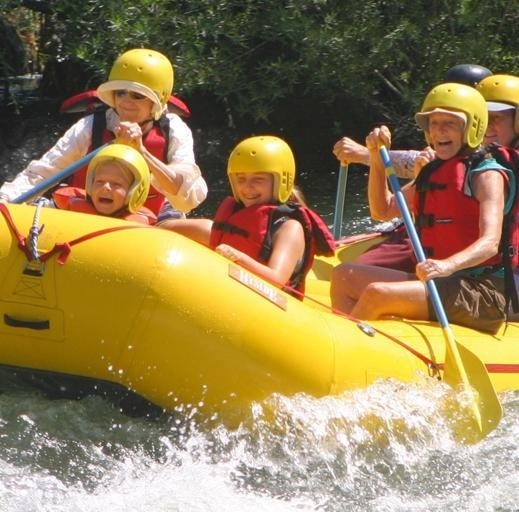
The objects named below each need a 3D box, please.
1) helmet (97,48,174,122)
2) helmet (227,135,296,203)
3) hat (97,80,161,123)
[{"bbox_3d":[-0.662,-0.927,3.998,0.401,0.290,0.434,8,4,15],"label":"helmet"},{"bbox_3d":[0.033,-0.422,3.649,0.325,0.246,0.386,-4,-10,25],"label":"helmet"},{"bbox_3d":[-0.673,-0.828,3.904,0.360,0.126,0.267,9,5,-10],"label":"hat"}]
